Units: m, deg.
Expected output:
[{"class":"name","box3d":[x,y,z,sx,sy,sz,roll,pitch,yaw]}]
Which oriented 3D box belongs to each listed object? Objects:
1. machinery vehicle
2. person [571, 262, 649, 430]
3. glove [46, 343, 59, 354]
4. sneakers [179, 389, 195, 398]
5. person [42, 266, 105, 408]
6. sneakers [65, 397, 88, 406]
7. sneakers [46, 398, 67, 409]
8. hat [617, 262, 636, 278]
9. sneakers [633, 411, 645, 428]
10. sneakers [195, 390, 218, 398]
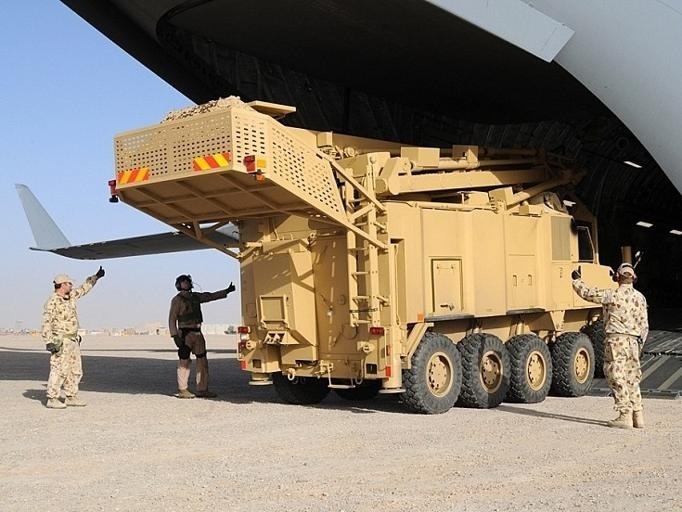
[{"class":"machinery vehicle","box3d":[0.467,0.247,14.807,4.030,5.025,10.307,0,-1,36]},{"class":"person","box3d":[3.871,1.234,11.261,1.011,2.329,0.604,-2,-9,3]},{"class":"glove","box3d":[-4.848,1.544,13.294,0.190,0.128,0.189,-7,-8,33]},{"class":"sneakers","box3d":[-2.764,2.466,14.230,0.291,0.202,0.135,1,-4,0]},{"class":"person","box3d":[-4.610,1.429,13.523,0.482,2.237,0.861,-8,-10,33]},{"class":"sneakers","box3d":[-4.453,2.450,13.363,0.413,0.154,0.165,0,-6,-2]},{"class":"sneakers","box3d":[-4.659,2.417,13.082,0.301,0.177,0.305,1,-8,-19]},{"class":"hat","box3d":[4.084,0.181,11.514,0.249,0.223,0.257,-4,-25,25]},{"class":"sneakers","box3d":[4.061,2.240,10.898,0.192,0.230,0.116,0,-9,-16]},{"class":"sneakers","box3d":[-2.435,2.486,14.331,0.385,0.144,0.136,1,-5,-10]}]
